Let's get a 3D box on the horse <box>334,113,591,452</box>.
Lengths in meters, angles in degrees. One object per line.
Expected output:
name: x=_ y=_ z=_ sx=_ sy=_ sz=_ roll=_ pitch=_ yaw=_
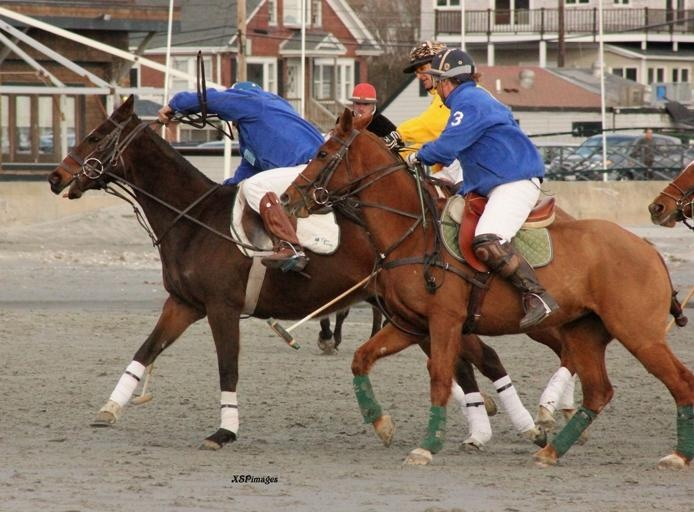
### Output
horse: x=1.101 y=0.712 z=20.257 sx=1.620 sy=4.089 sz=6.534 roll=-5 pitch=-8 yaw=30

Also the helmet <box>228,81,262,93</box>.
helmet: x=-1.344 y=-2.312 z=22.266 sx=0.381 sy=0.147 sz=0.252 roll=3 pitch=-8 yaw=-9

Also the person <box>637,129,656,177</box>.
person: x=7.338 y=-2.471 z=40.499 sx=0.519 sy=1.431 sz=0.480 roll=-6 pitch=-24 yaw=21
